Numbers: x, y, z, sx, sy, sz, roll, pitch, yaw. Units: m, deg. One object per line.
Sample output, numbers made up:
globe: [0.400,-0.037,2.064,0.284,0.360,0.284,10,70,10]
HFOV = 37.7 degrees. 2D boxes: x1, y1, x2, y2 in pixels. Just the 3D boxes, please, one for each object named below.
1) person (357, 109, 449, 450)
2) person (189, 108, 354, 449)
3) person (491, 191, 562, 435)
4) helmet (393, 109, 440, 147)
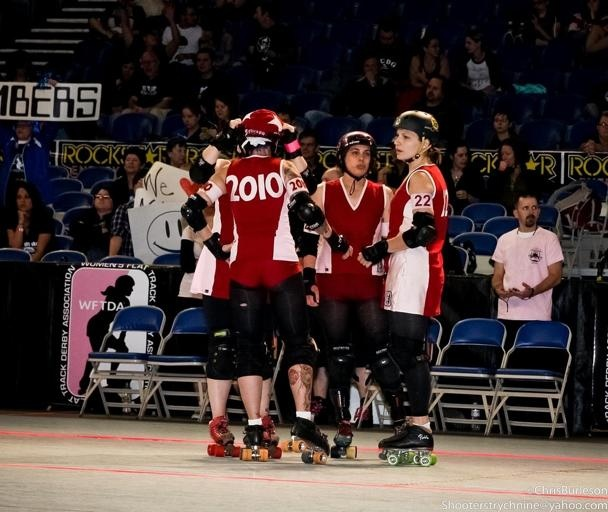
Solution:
person: [0.749,0.115,6.489,0.544,2.530,0.558,1,-5,10]
person: [-0.300,0.156,6.501,1.103,2.466,0.652,1,-5,6]
person: [2.377,0.575,9.628,0.775,2.610,0.564,0,-5,22]
helmet: [0.884,-1.001,6.729,0.310,0.237,0.233,38,-5,-13]
